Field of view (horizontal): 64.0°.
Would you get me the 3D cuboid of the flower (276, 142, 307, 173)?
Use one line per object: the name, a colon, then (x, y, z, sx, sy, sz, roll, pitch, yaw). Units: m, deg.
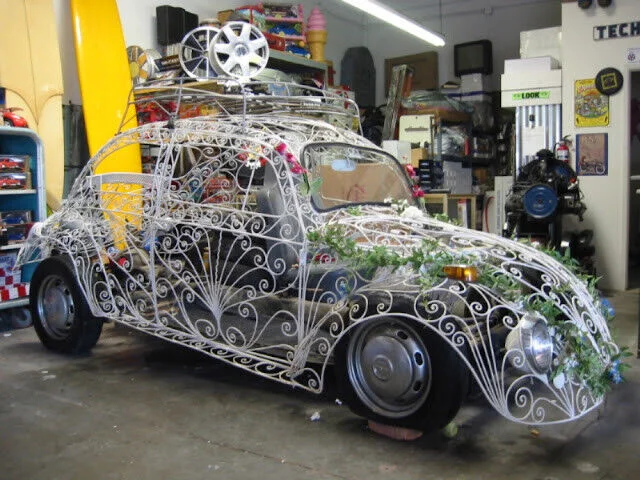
flower: (-0.199, -0.533, 3.303, 0.182, 0.202, 0.097, 5, 10, 32)

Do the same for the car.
car: (-0.053, 0.025, 4.066, 3.997, 2.028, 2.186, 2, 7, 31)

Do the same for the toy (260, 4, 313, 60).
toy: (-0.537, -3.221, 7.798, 0.429, 0.802, 1.058, 5, 10, 34)

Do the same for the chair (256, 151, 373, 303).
chair: (0.095, -0.125, 3.683, 1.094, 0.970, 0.738, 15, 12, 41)

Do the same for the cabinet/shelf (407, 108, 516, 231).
cabinet/shelf: (2.259, -1.201, 8.229, 2.636, 2.661, 0.837, 0, 2, -44)

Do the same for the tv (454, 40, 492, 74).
tv: (3.142, -3.768, 10.517, 0.684, 0.628, 0.382, 4, 22, 36)

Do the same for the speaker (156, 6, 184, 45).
speaker: (-2.168, -3.089, 7.361, 0.457, 0.519, 0.210, 5, 10, 33)

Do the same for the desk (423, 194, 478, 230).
desk: (1.530, -0.371, 6.074, 0.697, 0.681, 0.273, 1, -2, -26)
